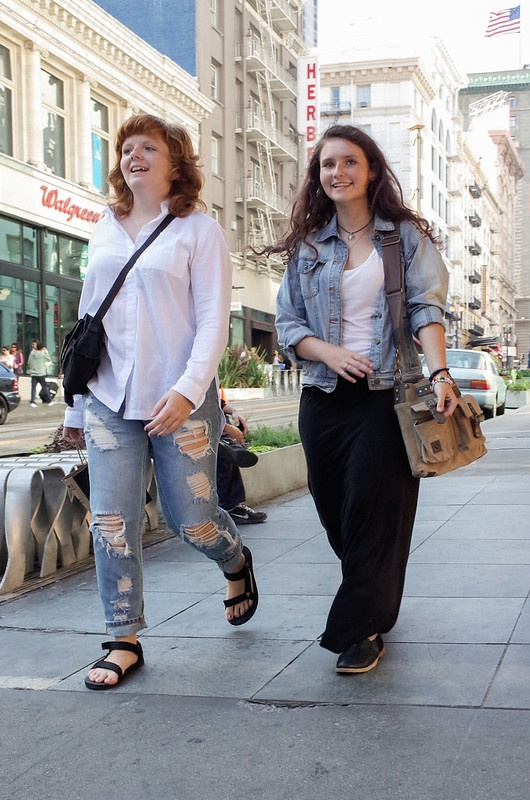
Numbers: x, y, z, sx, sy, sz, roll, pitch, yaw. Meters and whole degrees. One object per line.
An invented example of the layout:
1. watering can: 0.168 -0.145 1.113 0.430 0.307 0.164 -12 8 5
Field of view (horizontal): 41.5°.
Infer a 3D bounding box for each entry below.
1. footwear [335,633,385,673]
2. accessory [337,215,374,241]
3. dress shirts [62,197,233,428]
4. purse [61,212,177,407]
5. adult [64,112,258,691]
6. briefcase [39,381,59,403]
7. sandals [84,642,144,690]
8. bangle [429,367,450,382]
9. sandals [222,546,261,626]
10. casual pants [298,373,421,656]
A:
1. footwear: 0.325 0.854 2.397 0.077 0.077 0.191 -1 3 37
2. accessory: 0.340 -0.652 2.654 0.108 0.052 0.110 4 48 32
3. dress shirts: -0.409 -0.321 2.478 0.600 0.767 0.485 -5 7 -2
4. purse: -0.558 -0.328 2.549 0.288 0.782 0.318 21 13 40
5. adult: -0.264 -0.035 2.621 0.972 1.977 0.687 -1 -1 -38
6. briefcase: -7.759 -0.303 24.939 0.324 0.435 0.630 8 30 7
7. sandals: -0.531 0.918 2.435 0.124 0.127 0.284 -3 7 11
8. bangle: 0.602 -0.090 2.420 0.061 0.028 0.047 -7 3 42
9. sandals: -0.103 0.807 3.011 0.138 0.353 0.085 -8 -8 31
10. casual pants: 0.309 0.381 2.473 0.401 0.904 0.391 -1 8 25
